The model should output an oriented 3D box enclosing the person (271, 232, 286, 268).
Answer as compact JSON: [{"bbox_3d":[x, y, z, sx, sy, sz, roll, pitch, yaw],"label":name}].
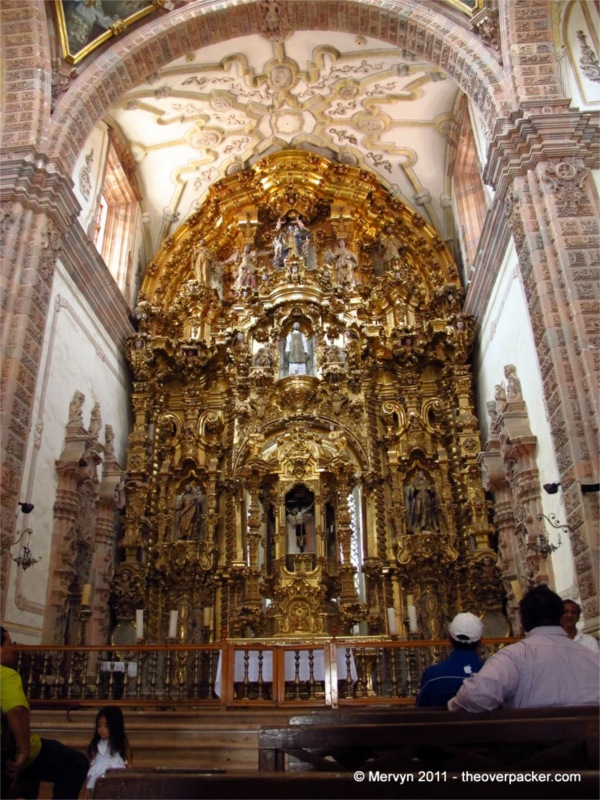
[{"bbox_3d":[-0.512,-3.295,14.270,0.157,0.959,0.404,16,-32,-31],"label":"person"}]

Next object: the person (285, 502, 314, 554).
[{"bbox_3d":[-0.015,2.372,11.716,0.495,0.902,0.169,-4,-27,2],"label":"person"}]

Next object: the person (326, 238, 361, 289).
[{"bbox_3d":[0.929,-3.069,14.210,0.665,0.177,1.305,1,-44,10],"label":"person"}]

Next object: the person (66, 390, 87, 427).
[{"bbox_3d":[-3.528,0.163,9.940,0.235,0.740,0.286,8,-29,-21],"label":"person"}]

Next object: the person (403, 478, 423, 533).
[{"bbox_3d":[2.079,1.949,11.661,0.373,0.992,0.241,-18,-31,28],"label":"person"}]

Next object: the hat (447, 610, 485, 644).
[{"bbox_3d":[0.789,1.069,3.020,0.126,0.090,0.184,-1,6,18],"label":"hat"}]

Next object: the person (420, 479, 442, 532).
[{"bbox_3d":[2.348,1.951,11.573,0.402,0.878,0.155,13,-31,-29],"label":"person"}]

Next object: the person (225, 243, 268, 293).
[{"bbox_3d":[-1.201,-2.960,14.395,0.976,1.316,0.432,0,-27,-5],"label":"person"}]

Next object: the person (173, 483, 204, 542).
[{"bbox_3d":[-2.121,2.113,12.027,0.474,1.272,0.548,10,-29,-23],"label":"person"}]
